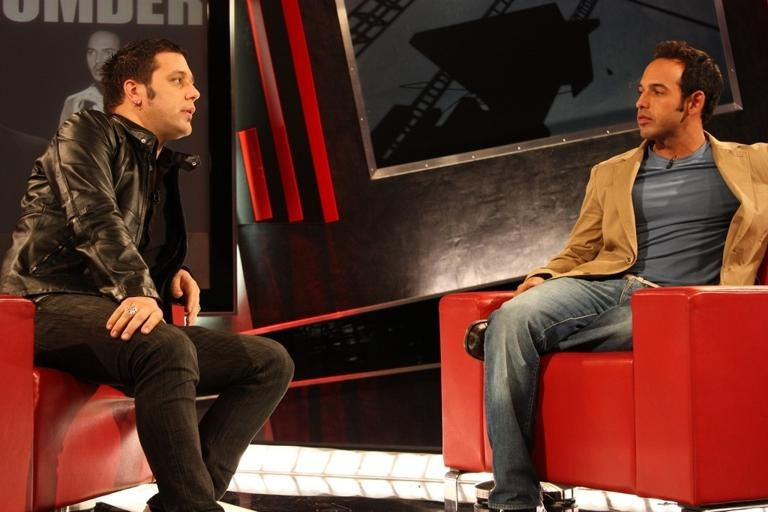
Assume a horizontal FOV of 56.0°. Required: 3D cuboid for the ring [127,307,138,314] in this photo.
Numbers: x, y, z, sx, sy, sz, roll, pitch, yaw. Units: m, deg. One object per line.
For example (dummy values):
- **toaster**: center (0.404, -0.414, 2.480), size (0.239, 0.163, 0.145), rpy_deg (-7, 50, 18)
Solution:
- **ring**: center (-0.769, 0.167, 2.228), size (0.027, 0.025, 0.012), rpy_deg (-1, -4, 6)
